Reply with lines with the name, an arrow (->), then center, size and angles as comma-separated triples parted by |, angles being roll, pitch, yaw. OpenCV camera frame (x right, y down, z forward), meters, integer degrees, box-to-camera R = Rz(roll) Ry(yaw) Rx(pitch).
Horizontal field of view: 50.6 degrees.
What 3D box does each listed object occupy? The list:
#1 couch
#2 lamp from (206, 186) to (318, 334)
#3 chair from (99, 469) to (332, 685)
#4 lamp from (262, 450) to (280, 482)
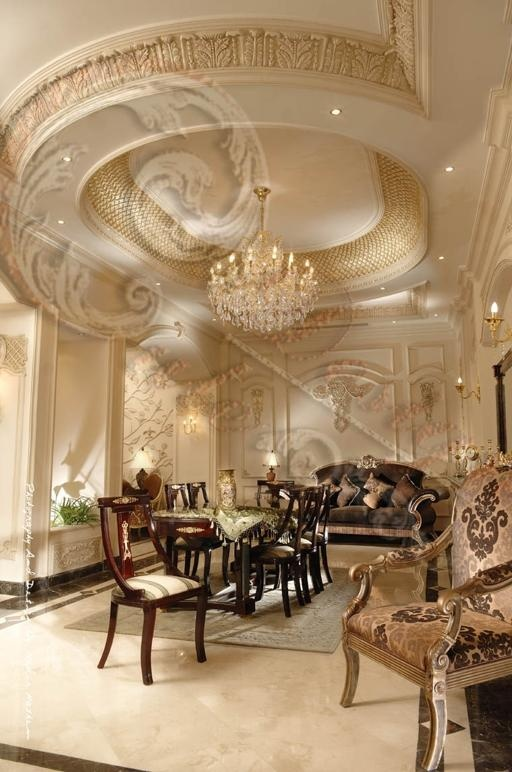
couch -> 1.435, 1.390, 6.550 | 1.259, 0.802, 0.630 | -8, -15, 32
lamp -> 0.060, -1.166, 5.068 | 0.872, 1.225, 0.852 | -5, -11, 26
chair -> -0.459, 1.146, 3.532 | 1.027, 1.648, 1.002 | -14, -19, 34
lamp -> 0.185, 1.217, 8.427 | 0.377, 0.519, 0.379 | 0, -6, -8
